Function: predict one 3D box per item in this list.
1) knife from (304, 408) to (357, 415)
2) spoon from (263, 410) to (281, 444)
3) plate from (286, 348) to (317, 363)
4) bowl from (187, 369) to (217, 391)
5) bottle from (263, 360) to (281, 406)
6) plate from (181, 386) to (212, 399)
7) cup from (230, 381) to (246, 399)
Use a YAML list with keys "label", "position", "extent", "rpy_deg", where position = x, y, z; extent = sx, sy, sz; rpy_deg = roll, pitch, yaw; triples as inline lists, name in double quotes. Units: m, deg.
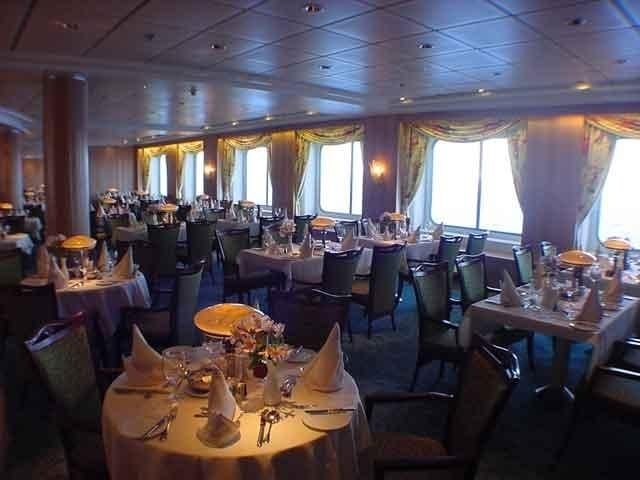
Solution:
- label: "knife"
  position: [0.055, 1.129, 3.332]
  extent: [0.260, 0.023, 0.040]
  rpy_deg: [0, 23, -7]
- label: "spoon"
  position: [-0.310, 1.171, 3.218]
  extent: [0.090, 0.128, 0.052]
  rpy_deg: [2, -5, 45]
- label: "plate"
  position: [-0.139, 0.880, 3.871]
  extent: [0.159, 0.087, 0.197]
  rpy_deg: [5, 8, 24]
- label: "bowl"
  position: [-0.824, 0.969, 3.474]
  extent: [0.182, 0.093, 0.211]
  rpy_deg: [0, 9, 8]
- label: "bottle"
  position: [-0.319, 0.955, 3.384]
  extent: [0.131, 0.304, 0.080]
  rpy_deg: [0, 8, -6]
- label: "plate"
  position: [-0.853, 1.017, 3.455]
  extent: [0.199, 0.090, 0.076]
  rpy_deg: [4, 8, 18]
- label: "cup"
  position: [-0.550, 1.027, 3.455]
  extent: [0.111, 0.104, 0.103]
  rpy_deg: [1, 8, 0]
